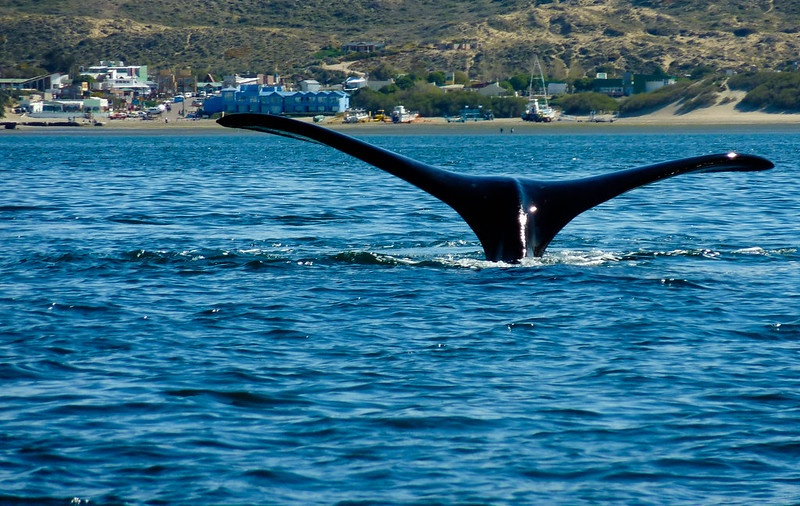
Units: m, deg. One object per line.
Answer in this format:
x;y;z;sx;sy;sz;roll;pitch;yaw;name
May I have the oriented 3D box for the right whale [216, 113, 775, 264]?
2.437;-1.551;33.597;11.633;3.515;1.739;0;14;-3;right whale
